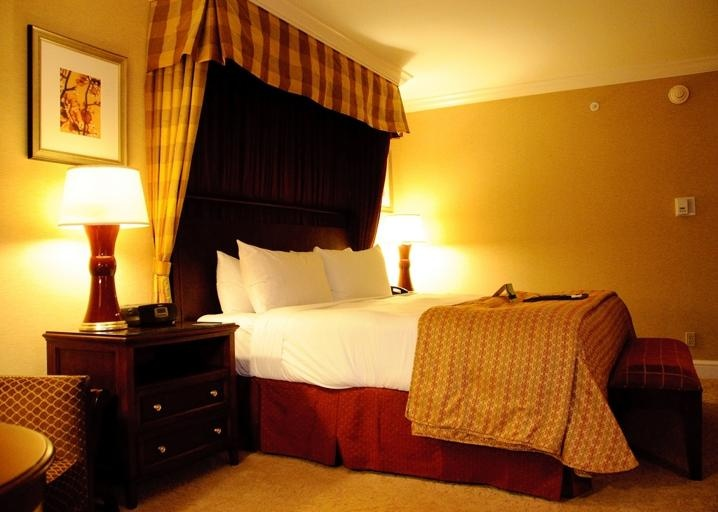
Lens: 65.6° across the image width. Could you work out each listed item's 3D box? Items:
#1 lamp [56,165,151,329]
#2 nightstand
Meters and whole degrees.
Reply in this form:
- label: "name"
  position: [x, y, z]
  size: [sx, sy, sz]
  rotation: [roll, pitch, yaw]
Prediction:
- label: "lamp"
  position: [-1.511, -0.053, 3.357]
  size: [0.492, 0.974, 0.303]
  rotation: [-3, 6, -22]
- label: "nightstand"
  position: [-1.229, 0.780, 3.680]
  size: [0.872, 1.244, 1.220]
  rotation: [-3, -3, 27]
